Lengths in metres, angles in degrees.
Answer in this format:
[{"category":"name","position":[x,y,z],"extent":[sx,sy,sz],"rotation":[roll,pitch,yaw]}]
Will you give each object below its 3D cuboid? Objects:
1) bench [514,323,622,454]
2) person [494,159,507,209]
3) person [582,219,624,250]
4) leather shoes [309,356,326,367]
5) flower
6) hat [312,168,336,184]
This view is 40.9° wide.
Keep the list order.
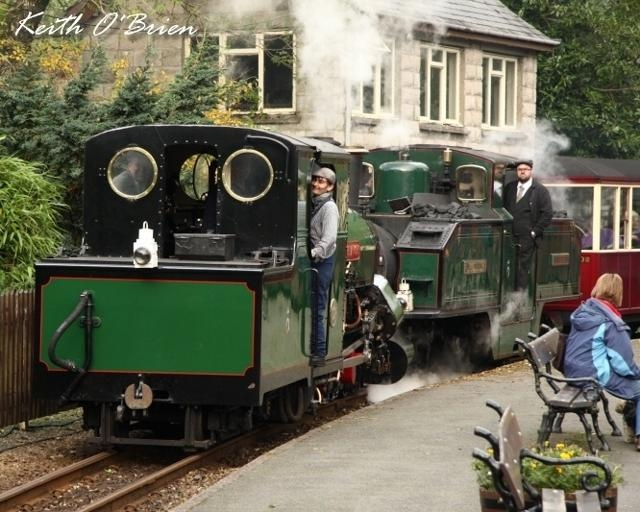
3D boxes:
[{"category":"bench","position":[2.254,0.839,7.869],"extent":[0.838,1.132,1.679],"rotation":[-2,0,13]},{"category":"person","position":[2.758,-1.054,13.172],"extent":[0.181,0.860,0.156],"rotation":[4,1,16]},{"category":"person","position":[5.562,-0.353,16.904],"extent":[0.711,0.587,0.283],"rotation":[-12,16,-29]},{"category":"leather shoes","position":[-0.028,1.068,8.728],"extent":[0.108,0.060,0.146],"rotation":[0,2,-3]},{"category":"flower","position":[1.391,1.334,5.384],"extent":[0.661,0.224,0.527],"rotation":[1,1,28]},{"category":"hat","position":[0.049,-0.811,8.717],"extent":[0.196,0.079,0.142],"rotation":[24,-5,-38]}]
